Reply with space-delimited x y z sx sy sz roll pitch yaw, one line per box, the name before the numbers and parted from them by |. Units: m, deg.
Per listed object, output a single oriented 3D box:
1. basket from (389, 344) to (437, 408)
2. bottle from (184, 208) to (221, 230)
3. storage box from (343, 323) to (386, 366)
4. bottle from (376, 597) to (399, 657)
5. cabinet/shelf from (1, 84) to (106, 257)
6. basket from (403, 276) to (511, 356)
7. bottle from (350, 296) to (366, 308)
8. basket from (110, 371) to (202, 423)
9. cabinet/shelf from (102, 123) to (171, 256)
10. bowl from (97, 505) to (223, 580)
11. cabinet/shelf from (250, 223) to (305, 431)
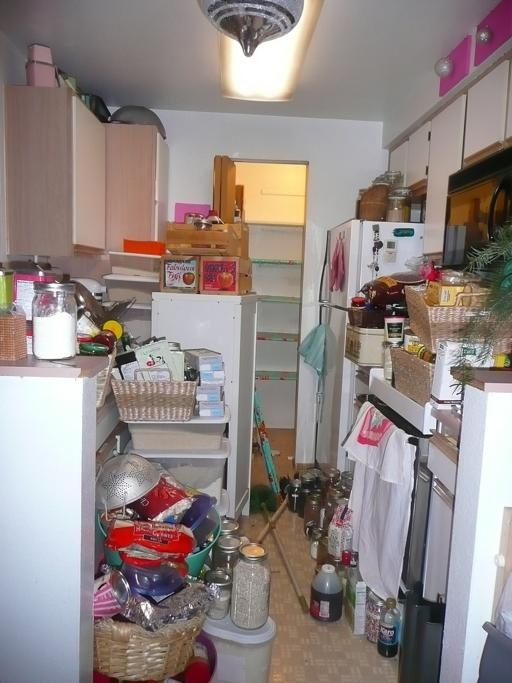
basket | 0.463 0.105 1.540 0.111 0.145 0.210 -1 12 -5
bottle | -0.254 -0.563 2.427 0.171 0.074 0.128 4 10 5
storage box | 0.531 0.062 2.550 0.153 0.195 0.287 1 6 -1
bottle | 0.443 0.952 1.718 0.072 0.168 0.053 5 6 16
cabinet/shelf | -1.002 -0.821 2.514 0.278 0.762 0.816 -1 16 -8
basket | 0.466 -0.060 1.187 0.209 0.158 0.313 1 3 1
bottle | 0.502 -0.189 2.530 0.066 0.052 0.123 4 6 10
basket | -0.329 0.171 1.635 0.219 0.122 0.149 1 1 -4
cabinet/shelf | -0.712 -0.877 3.008 0.265 0.738 0.769 0 18 -6
bowl | -0.261 0.518 1.345 0.258 0.125 0.276 1 4 0
cabinet/shelf | 0.135 -0.123 4.412 0.458 1.716 0.454 3 6 1
